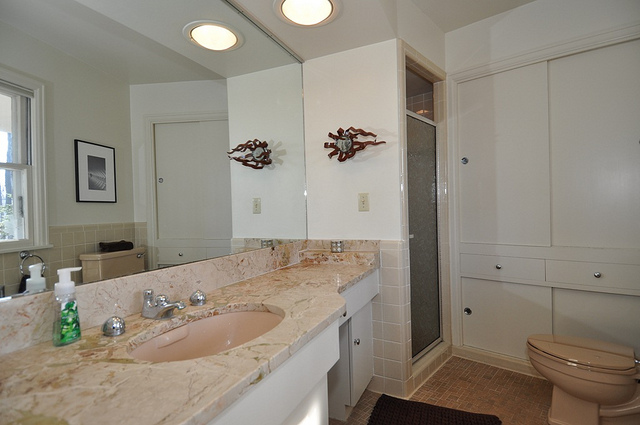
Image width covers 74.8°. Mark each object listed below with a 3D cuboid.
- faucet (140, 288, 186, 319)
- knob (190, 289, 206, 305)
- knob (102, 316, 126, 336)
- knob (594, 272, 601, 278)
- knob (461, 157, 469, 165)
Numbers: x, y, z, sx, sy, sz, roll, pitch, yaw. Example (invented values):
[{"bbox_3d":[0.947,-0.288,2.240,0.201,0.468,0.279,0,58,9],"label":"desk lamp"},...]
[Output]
[{"bbox_3d":[-0.747,0.441,1.992,0.245,0.129,0.090,4,7,24],"label":"faucet"},{"bbox_3d":[-0.613,0.427,2.104,0.065,0.065,0.066,2,-3,-14],"label":"knob"},{"bbox_3d":[-0.912,0.499,1.846,0.079,0.064,0.079,4,0,-12],"label":"knob"},{"bbox_3d":[1.872,0.423,2.820,0.031,0.035,0.016,-3,0,-2],"label":"knob"},{"bbox_3d":[1.154,-0.410,3.329,0.058,0.051,0.018,-4,0,23],"label":"knob"}]
